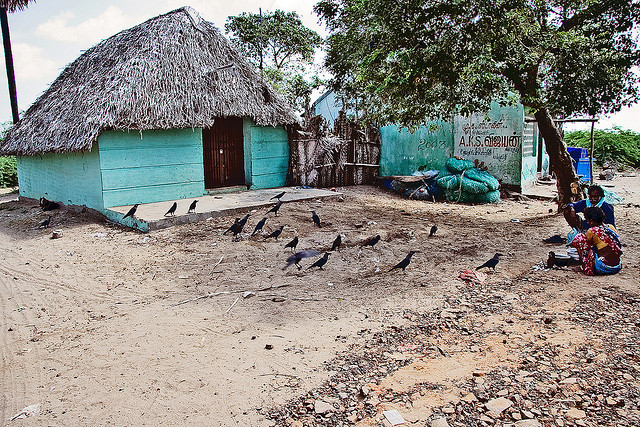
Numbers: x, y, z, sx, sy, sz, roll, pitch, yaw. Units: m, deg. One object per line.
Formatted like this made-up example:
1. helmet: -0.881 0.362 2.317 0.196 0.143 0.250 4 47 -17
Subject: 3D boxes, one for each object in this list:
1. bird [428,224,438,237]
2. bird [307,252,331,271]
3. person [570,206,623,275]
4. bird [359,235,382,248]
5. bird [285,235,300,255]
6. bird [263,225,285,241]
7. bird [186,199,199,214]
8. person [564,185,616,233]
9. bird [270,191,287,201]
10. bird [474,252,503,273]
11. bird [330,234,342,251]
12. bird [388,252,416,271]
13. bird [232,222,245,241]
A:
1. bird: 2.453 0.354 10.560 0.154 0.227 0.357 -3 3 13
2. bird: -0.052 0.873 8.709 0.461 0.275 0.145 -12 9 -9
3. person: 4.708 0.449 8.321 0.876 1.067 0.897 0 9 27
4. bird: 1.022 0.556 9.883 0.454 0.233 0.689 -3 2 7
5. bird: -0.571 0.604 9.446 0.256 0.315 0.530 -4 3 -5
6. bird: -1.007 0.433 10.066 0.394 0.247 0.530 -4 3 -9
7. bird: -3.095 -0.123 11.705 0.186 0.339 0.585 4 -11 -41
8. person: 4.859 -0.042 8.642 0.849 1.106 0.677 9 51 23
9. bird: -1.080 -0.463 12.517 0.506 0.143 0.308 -16 -16 38
10. bird: 2.973 0.870 8.482 0.534 0.314 0.240 -3 7 -18
11. bird: 0.294 0.574 9.644 0.230 0.304 0.334 -3 3 1
12. bird: 1.467 0.874 8.616 0.439 0.284 0.361 -4 3 -8
13. bird: -1.752 0.375 10.272 0.261 0.366 0.406 -4 3 -10
